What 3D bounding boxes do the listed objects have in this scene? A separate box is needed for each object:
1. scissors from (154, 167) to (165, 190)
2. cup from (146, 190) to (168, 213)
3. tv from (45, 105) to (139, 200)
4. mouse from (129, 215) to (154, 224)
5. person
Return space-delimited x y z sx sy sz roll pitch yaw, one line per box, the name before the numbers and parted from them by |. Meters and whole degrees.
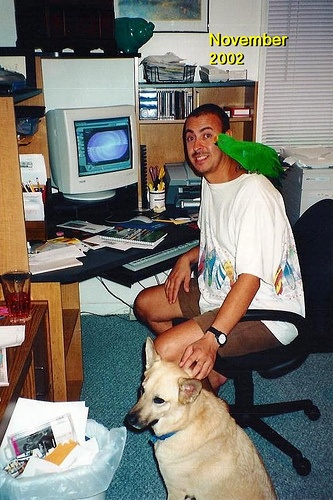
scissors | -0.039 -0.413 2.186 0.040 0.155 0.045 1 -3 10
cup | -0.057 -0.275 2.166 0.128 0.127 0.111 -5 15 -11
tv | -0.406 -0.514 1.991 0.453 0.411 0.256 -20 34 -40
mouse | -0.118 -0.155 1.928 0.076 0.024 0.051 12 22 11
person | 0.173 0.015 1.464 0.667 1.141 0.588 -11 27 -33
